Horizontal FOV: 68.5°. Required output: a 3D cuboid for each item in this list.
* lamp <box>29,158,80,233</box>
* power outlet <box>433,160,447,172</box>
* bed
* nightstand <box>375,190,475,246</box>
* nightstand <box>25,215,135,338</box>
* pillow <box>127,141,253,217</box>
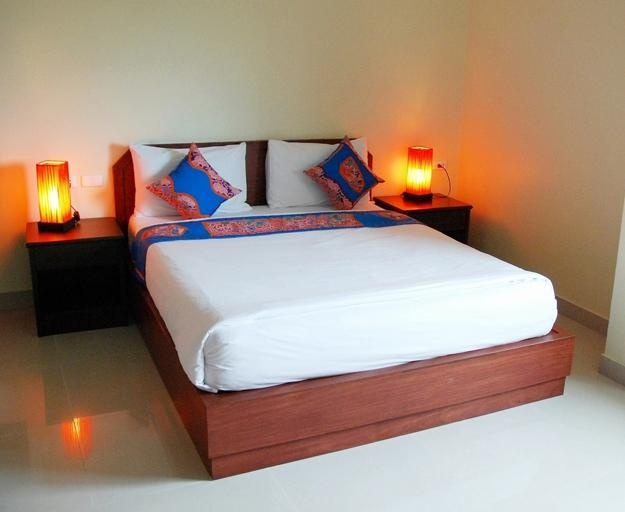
[{"bbox_3d":[-1.778,-0.427,3.243,0.204,0.458,0.347,3,20,11],"label":"lamp"},{"bbox_3d":[1.248,-0.882,4.466,0.083,0.088,0.052,-3,2,-14],"label":"power outlet"},{"bbox_3d":[-0.054,0.124,2.384,1.170,0.679,1.250,-8,25,-21],"label":"bed"},{"bbox_3d":[1.029,-0.405,4.190,0.633,0.621,0.490,-10,26,-24],"label":"nightstand"},{"bbox_3d":[-1.644,0.155,3.423,0.618,0.627,0.617,-4,10,-16],"label":"nightstand"},{"bbox_3d":[-0.921,-0.588,3.603,0.918,0.615,0.282,-2,-4,-15],"label":"pillow"}]
